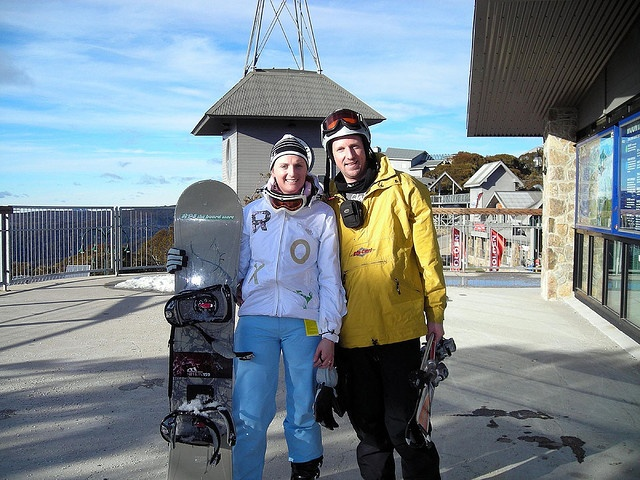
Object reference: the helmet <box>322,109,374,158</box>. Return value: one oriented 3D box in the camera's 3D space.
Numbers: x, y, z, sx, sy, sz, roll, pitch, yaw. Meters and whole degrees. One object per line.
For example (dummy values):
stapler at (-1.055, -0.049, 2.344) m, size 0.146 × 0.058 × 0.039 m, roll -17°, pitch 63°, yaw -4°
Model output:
helmet at (0.185, -0.801, 3.734) m, size 0.367 × 0.454 × 0.477 m, roll -9°, pitch -1°, yaw 4°

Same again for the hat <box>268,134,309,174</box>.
hat at (-0.242, -0.710, 3.647) m, size 0.281 × 0.159 × 0.227 m, roll 0°, pitch 8°, yaw 10°

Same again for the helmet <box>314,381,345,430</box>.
helmet at (0.077, 1.173, 3.447) m, size 0.128 × 0.347 × 0.260 m, roll -4°, pitch 15°, yaw -26°

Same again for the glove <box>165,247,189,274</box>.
glove at (-1.100, 0.158, 3.710) m, size 0.166 × 0.170 × 0.051 m, roll 10°, pitch -8°, yaw -19°

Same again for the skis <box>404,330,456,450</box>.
skis at (0.753, 1.023, 3.389) m, size 0.266 × 0.884 × 0.291 m, roll 16°, pitch -28°, yaw 5°
